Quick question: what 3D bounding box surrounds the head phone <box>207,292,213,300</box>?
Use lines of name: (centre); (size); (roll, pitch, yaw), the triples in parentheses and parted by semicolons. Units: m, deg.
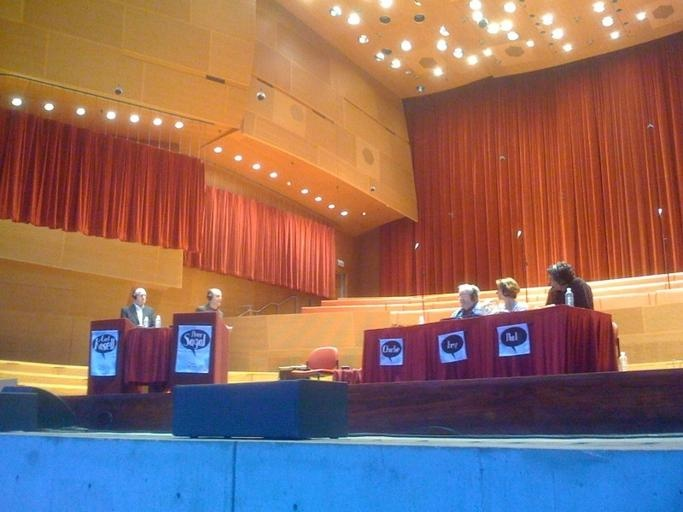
head phone: (-1.310, 0.405, 5.837); (0.077, 0.075, 0.077); (1, -4, -21)

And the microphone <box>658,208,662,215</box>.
microphone: (5.833, -0.804, 10.854); (0.043, 0.135, 0.095); (2, -1, -19)

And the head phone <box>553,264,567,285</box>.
head phone: (1.706, 0.145, 4.654); (0.116, 0.150, 0.148); (-2, -9, 13)

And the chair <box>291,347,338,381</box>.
chair: (-0.330, 1.369, 7.636); (0.441, 0.522, 0.465); (-10, -19, 31)

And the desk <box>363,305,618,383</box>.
desk: (0.994, 0.655, 4.290); (1.769, 0.511, 0.365); (-8, -2, 34)

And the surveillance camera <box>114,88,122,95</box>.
surveillance camera: (-3.078, -2.268, 8.129); (0.094, 0.096, 0.023); (0, 5, -12)

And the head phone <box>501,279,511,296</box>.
head phone: (1.274, 0.255, 4.589); (0.101, 0.145, 0.082); (-6, -17, 34)

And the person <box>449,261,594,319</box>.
person: (1.542, 0.287, 4.689); (0.937, 0.468, 0.478); (0, -11, 4)

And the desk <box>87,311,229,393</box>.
desk: (-1.544, 0.840, 5.036); (1.385, 0.498, 0.468); (-7, -2, 23)
